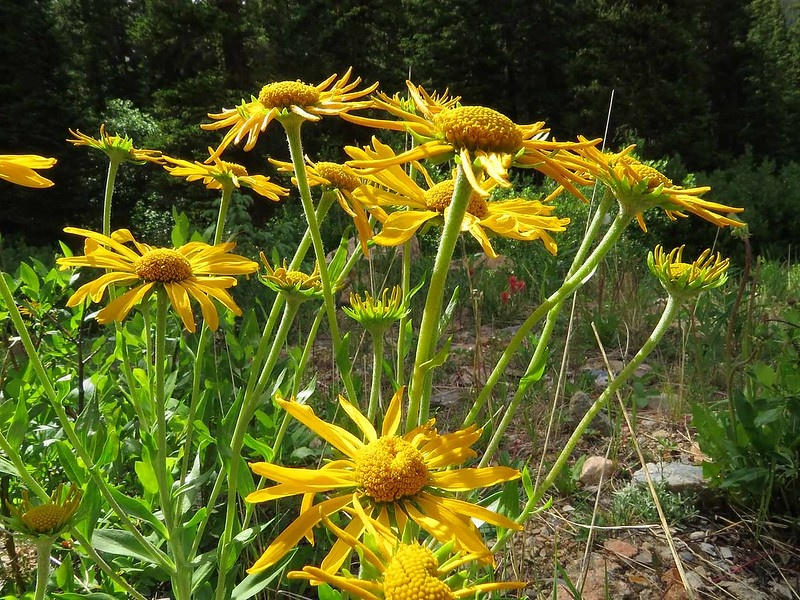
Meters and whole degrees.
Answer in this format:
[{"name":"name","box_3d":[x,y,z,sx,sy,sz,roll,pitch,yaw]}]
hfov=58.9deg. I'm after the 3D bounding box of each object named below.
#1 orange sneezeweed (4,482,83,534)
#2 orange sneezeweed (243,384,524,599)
[{"name":"orange sneezeweed","box_3d":[-1.310,0.733,2.622,0.217,0.102,0.200,-15,18,-39]},{"name":"orange sneezeweed","box_3d":[-0.006,0.698,2.630,0.882,0.338,1.044,9,-32,23]}]
